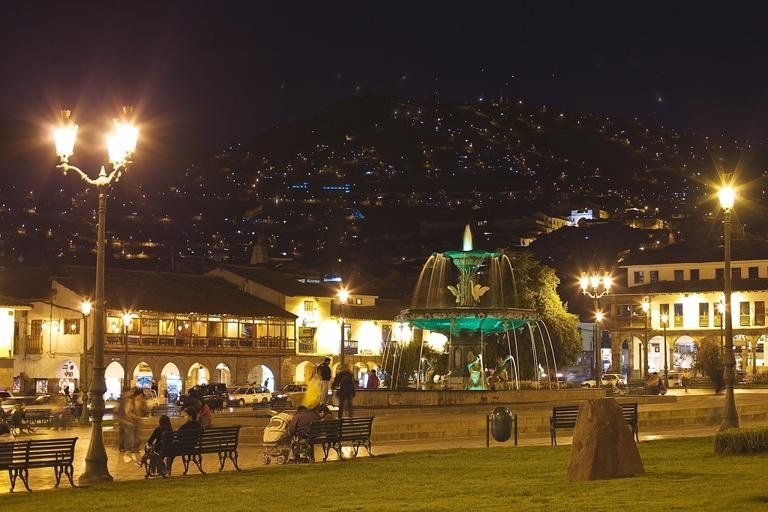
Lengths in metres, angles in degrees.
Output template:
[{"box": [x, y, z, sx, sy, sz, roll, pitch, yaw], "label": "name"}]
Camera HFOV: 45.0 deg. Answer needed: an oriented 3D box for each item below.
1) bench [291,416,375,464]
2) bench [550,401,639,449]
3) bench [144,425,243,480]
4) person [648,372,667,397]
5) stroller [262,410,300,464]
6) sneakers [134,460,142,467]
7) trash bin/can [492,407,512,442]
[{"box": [-1.487, 5.611, 28.545, 2.688, 1.273, 1.092, 9, -16, -42], "label": "bench"}, {"box": [7.071, 5.644, 30.970, 2.805, 1.138, 0.898, -5, 5, 14], "label": "bench"}, {"box": [-5.473, 5.595, 26.723, 2.104, 1.363, 2.740, -11, -15, 37], "label": "bench"}, {"box": [14.695, 6.877, 49.839, 1.236, 0.905, 1.597, -4, -1, -1], "label": "person"}, {"box": [-3.210, 5.535, 28.282, 0.941, 1.528, 1.342, 0, -12, -9], "label": "stroller"}, {"box": [-7.519, 6.319, 28.282, 0.282, 0.096, 0.281, 1, 0, -25], "label": "sneakers"}, {"box": [3.745, 5.281, 29.409, 0.561, 1.076, 1.200, -2, -12, 2], "label": "trash bin/can"}]
